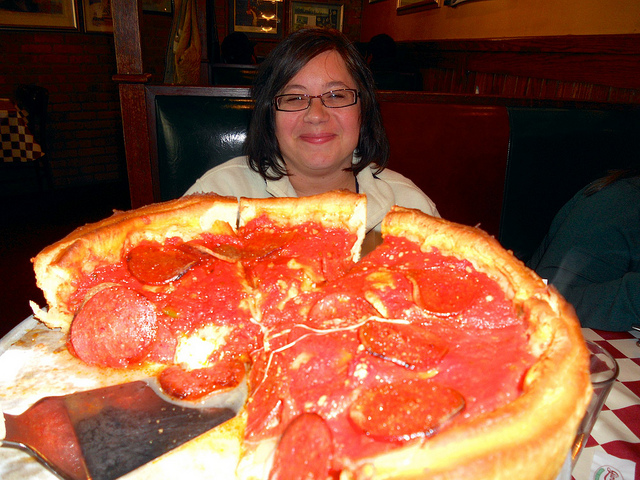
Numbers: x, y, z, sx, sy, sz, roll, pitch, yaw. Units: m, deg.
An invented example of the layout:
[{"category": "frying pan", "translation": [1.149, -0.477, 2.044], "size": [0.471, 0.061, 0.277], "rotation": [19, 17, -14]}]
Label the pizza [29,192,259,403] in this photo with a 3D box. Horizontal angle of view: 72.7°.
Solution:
[{"category": "pizza", "translation": [-0.241, 0.072, 0.597], "size": [0.305, 0.184, 0.244], "rotation": [-3, 23, -9]}]

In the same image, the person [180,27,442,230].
[{"category": "person", "translation": [-0.003, -0.306, 1.497], "size": [0.880, 0.797, 0.449], "rotation": [3, 21, 6]}]

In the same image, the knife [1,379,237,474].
[{"category": "knife", "translation": [-0.235, 0.219, 0.510], "size": [0.258, 0.029, 0.113], "rotation": [-6, 24, -16]}]
